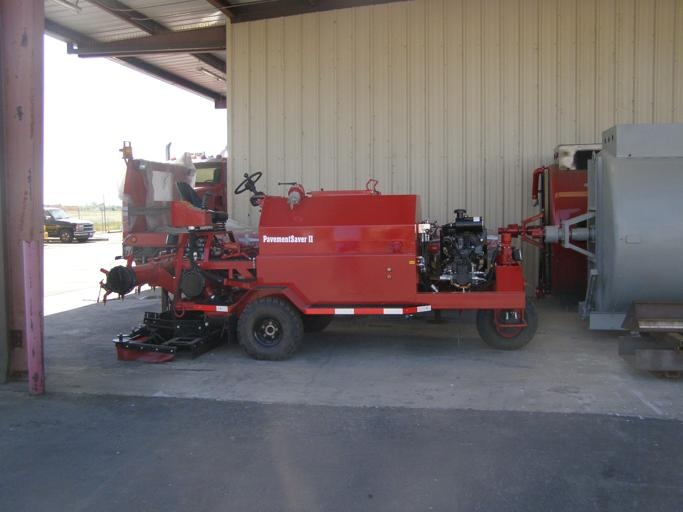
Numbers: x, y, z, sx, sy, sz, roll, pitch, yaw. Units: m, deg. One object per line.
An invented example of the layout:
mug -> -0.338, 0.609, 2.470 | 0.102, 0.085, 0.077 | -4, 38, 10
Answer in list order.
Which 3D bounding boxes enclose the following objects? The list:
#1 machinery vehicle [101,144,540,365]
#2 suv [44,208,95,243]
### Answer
machinery vehicle -> -0.276, 0.158, 9.268 | 5.995, 3.334, 3.036 | -1, 2, 6
suv -> -11.803, -1.284, 27.226 | 1.801, 1.485, 0.933 | 0, 11, 3
